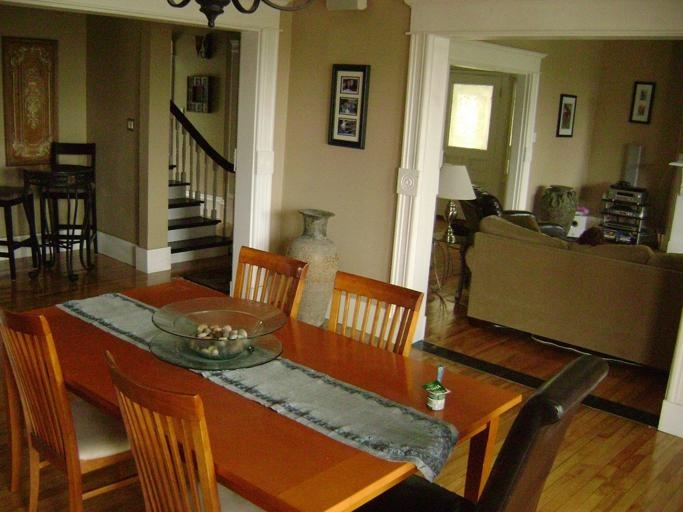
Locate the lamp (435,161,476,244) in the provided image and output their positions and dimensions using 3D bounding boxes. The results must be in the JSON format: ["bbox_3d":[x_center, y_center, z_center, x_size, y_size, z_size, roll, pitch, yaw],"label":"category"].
[{"bbox_3d":[1.283,-0.575,5.926,0.400,0.902,0.787,6,14,12],"label":"lamp"}]

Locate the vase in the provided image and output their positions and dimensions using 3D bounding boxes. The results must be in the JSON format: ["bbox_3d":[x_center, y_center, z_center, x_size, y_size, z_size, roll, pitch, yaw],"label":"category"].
[{"bbox_3d":[-0.277,0.124,4.897,0.596,1.103,0.569,4,16,-2],"label":"vase"}]

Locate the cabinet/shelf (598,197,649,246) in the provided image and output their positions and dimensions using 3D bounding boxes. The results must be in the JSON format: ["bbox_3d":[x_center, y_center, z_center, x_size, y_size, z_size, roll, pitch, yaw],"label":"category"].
[{"bbox_3d":[4.348,-0.536,8.027,0.763,0.712,0.578,11,15,43],"label":"cabinet/shelf"}]

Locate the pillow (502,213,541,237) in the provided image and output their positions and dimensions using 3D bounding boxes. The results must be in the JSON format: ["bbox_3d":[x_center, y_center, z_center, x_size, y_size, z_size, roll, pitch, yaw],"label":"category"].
[{"bbox_3d":[1.925,-0.342,5.645,0.232,0.299,0.279,27,34,35],"label":"pillow"}]
